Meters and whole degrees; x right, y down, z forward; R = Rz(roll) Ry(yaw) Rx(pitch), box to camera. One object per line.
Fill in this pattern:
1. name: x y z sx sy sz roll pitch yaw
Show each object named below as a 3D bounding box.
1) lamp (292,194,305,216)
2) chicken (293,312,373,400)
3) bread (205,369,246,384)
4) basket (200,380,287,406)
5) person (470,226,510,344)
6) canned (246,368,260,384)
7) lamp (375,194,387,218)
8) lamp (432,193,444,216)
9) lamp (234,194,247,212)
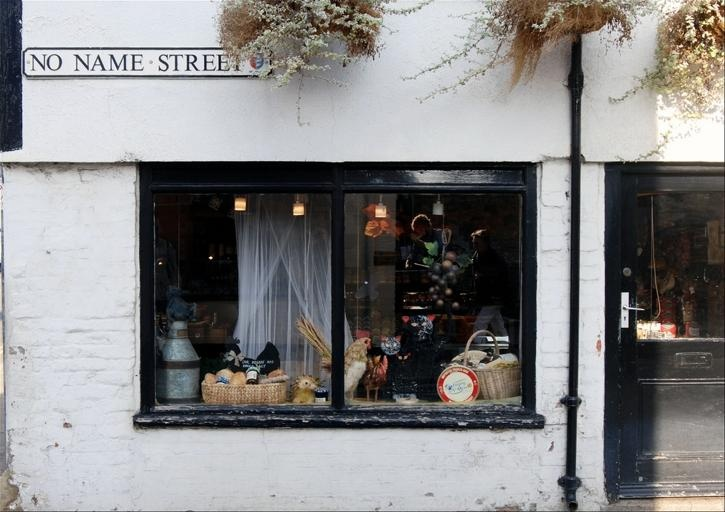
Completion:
1. lamp: -0.583 -0.459 14.565 0.114 0.194 0.139 0 -4 -3
2. chicken: -0.254 0.930 14.680 0.622 0.677 0.541 -1 2 18
3. bread: -1.266 1.137 14.543 0.305 0.093 0.148 -1 5 -4
4. basket: -1.086 1.289 14.504 0.807 0.203 0.123 1 -4 -6
5. person: 1.209 0.260 14.545 0.295 0.988 0.158 0 -4 5
6. canned: -1.000 1.139 14.614 0.140 0.121 0.126 -3 -45 4
7. lamp: 0.187 -0.441 14.491 0.127 0.205 0.081 0 -4 -1
8. lamp: 0.719 -0.458 14.508 0.106 0.184 0.088 0 -4 3
9. lamp: -1.123 -0.478 14.548 0.152 0.123 0.140 2 8 0
